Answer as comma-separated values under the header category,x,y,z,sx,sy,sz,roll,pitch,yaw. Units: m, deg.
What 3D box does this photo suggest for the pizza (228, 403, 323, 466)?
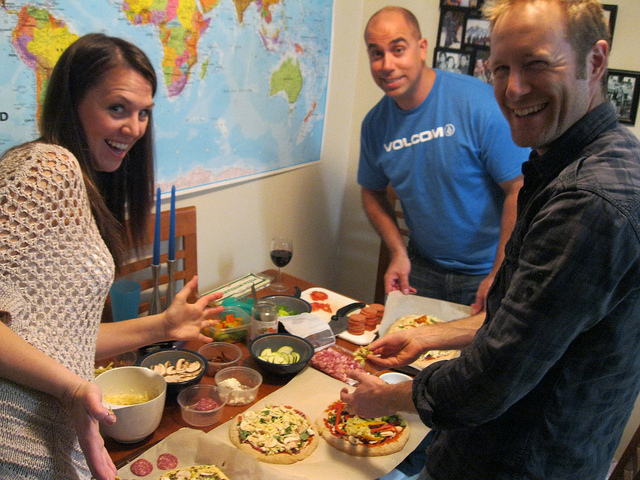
category,x,y,z,sx,sy,sz,roll,pitch,yaw
pizza,-0.143,0.641,1.587,0.293,0.078,0.213,4,16,18

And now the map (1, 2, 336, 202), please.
category,x,y,z,sx,sy,sz,roll,pitch,yaw
map,-0.571,-0.795,2.521,0.140,1.079,2.036,10,19,36

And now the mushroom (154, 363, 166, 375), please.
category,x,y,z,sx,sy,sz,roll,pitch,yaw
mushroom,-0.565,0.457,1.696,0.038,0.020,0.061,-7,16,-19

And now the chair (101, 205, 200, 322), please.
category,x,y,z,sx,sy,sz,roll,pitch,yaw
chair,-0.798,0.060,2.311,0.423,0.612,0.457,20,28,34

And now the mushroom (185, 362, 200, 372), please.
category,x,y,z,sx,sy,sz,roll,pitch,yaw
mushroom,-0.452,0.457,1.712,0.053,0.014,0.036,-13,19,-36

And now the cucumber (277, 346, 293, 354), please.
category,x,y,z,sx,sy,sz,roll,pitch,yaw
cucumber,-0.140,0.440,1.903,0.059,0.014,0.044,1,15,9

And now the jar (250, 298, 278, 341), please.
category,x,y,z,sx,sy,sz,roll,pitch,yaw
jar,-0.219,0.333,1.977,0.147,0.209,0.135,2,5,0

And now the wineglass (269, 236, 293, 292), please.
category,x,y,z,sx,sy,sz,roll,pitch,yaw
wineglass,-0.209,0.113,2.534,0.126,0.249,0.282,-3,16,-4
